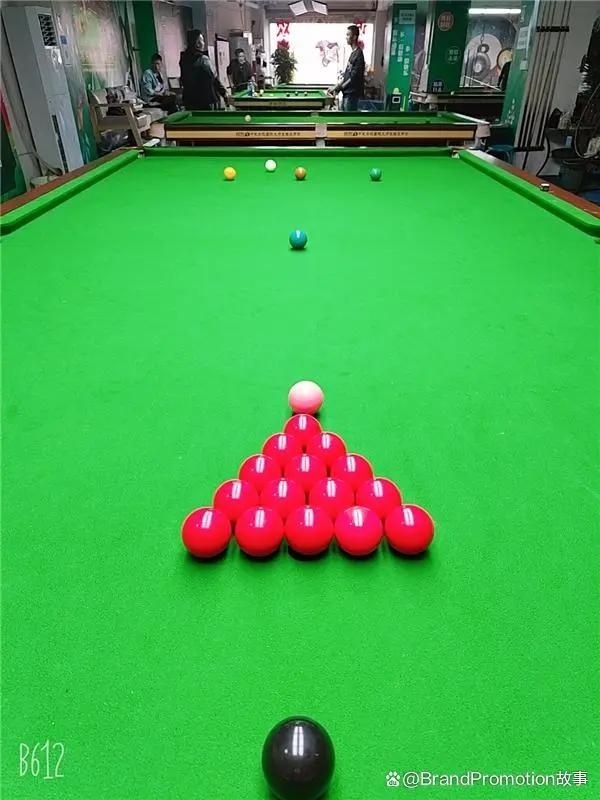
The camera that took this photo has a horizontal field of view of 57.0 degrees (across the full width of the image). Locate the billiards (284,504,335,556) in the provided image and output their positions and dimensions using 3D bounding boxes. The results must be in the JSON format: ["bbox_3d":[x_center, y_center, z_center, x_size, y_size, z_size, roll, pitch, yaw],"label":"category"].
[{"bbox_3d":[0.019,0.240,1.010,0.081,0.094,0.086,0,-2,1],"label":"billiards"}]

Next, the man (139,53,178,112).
[{"bbox_3d":[-2.586,-5.815,10.305,0.586,1.077,0.496,17,34,14],"label":"man"}]

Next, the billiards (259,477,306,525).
[{"bbox_3d":[-0.025,0.200,1.093,0.071,0.078,0.074,0,9,-5],"label":"billiards"}]

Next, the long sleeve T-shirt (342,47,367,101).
[{"bbox_3d":[0.845,-5.234,8.824,0.359,0.792,0.721,2,38,3],"label":"long sleeve T-shirt"}]

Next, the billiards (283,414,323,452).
[{"bbox_3d":[0.009,0.069,1.317,0.075,0.053,0.083,8,28,10],"label":"billiards"}]

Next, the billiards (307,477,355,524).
[{"bbox_3d":[0.062,0.194,1.100,0.073,0.091,0.079,2,52,-1],"label":"billiards"}]

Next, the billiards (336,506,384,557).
[{"bbox_3d":[0.108,0.244,1.012,0.081,0.048,0.088,-8,62,3],"label":"billiards"}]

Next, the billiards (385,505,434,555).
[{"bbox_3d":[0.196,0.241,1.014,0.077,0.051,0.092,-2,58,18],"label":"billiards"}]

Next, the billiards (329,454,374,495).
[{"bbox_3d":[0.107,0.147,1.172,0.074,0.093,0.078,-1,36,-3],"label":"billiards"}]

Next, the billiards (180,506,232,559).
[{"bbox_3d":[-0.173,0.250,1.025,0.095,0.075,0.079,-6,38,-9],"label":"billiards"}]

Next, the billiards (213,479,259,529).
[{"bbox_3d":[-0.126,0.195,1.090,0.079,0.044,0.081,25,32,-30],"label":"billiards"}]

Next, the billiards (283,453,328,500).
[{"bbox_3d":[0.016,0.161,1.167,0.077,0.085,0.095,-2,-10,6],"label":"billiards"}]

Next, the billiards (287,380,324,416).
[{"bbox_3d":[0.017,-0.003,1.472,0.082,0.103,0.086,4,22,0],"label":"billiards"}]

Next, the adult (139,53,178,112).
[{"bbox_3d":[-2.593,-5.815,10.321,0.573,1.062,0.506,13,35,9],"label":"adult"}]

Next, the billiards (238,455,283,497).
[{"bbox_3d":[-0.084,0.152,1.162,0.068,0.046,0.081,1,37,-5],"label":"billiards"}]

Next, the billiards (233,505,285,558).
[{"bbox_3d":[-0.065,0.253,1.041,0.082,0.090,0.083,-15,19,8],"label":"billiards"}]

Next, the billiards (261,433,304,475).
[{"bbox_3d":[-0.038,0.116,1.241,0.074,0.094,0.078,1,18,1],"label":"billiards"}]

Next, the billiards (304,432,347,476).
[{"bbox_3d":[0.061,0.118,1.238,0.078,0.101,0.083,1,3,5],"label":"billiards"}]

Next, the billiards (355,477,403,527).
[{"bbox_3d":[0.157,0.196,1.102,0.069,0.049,0.083,12,21,37],"label":"billiards"}]
